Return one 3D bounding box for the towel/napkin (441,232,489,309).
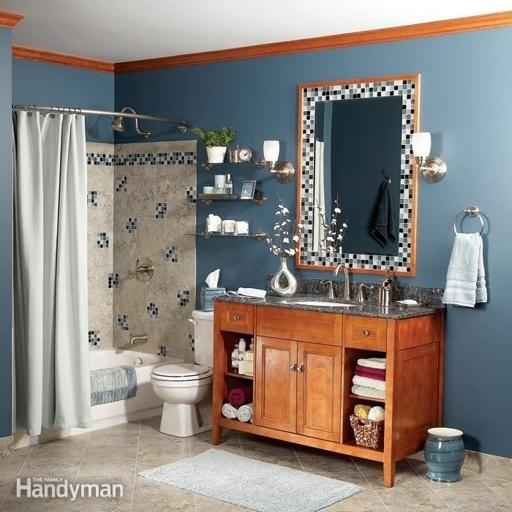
[{"bbox_3d":[1.170,0.073,2.840,0.227,0.400,0.122,0,-3,22],"label":"towel/napkin"}]

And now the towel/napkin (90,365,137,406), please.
[{"bbox_3d":[-1.029,0.964,3.732,0.391,0.218,0.145,-12,-16,11],"label":"towel/napkin"}]

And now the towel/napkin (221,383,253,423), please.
[{"bbox_3d":[-0.104,0.971,3.346,0.188,0.081,0.194,-2,1,32],"label":"towel/napkin"}]

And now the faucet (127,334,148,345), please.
[{"bbox_3d":[-1.065,0.749,4.558,0.160,0.091,0.091,-1,15,8],"label":"faucet"}]

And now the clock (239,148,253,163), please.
[{"bbox_3d":[-0.083,-0.772,3.867,0.091,0.099,0.025,15,8,28],"label":"clock"}]

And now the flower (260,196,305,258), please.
[{"bbox_3d":[0.208,-0.215,3.703,0.400,0.571,0.176,2,6,42],"label":"flower"}]

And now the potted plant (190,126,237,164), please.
[{"bbox_3d":[-0.313,-0.892,4.013,0.191,0.310,0.313,0,13,10],"label":"potted plant"}]

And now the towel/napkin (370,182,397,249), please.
[{"bbox_3d":[0.811,-0.281,3.253,0.170,0.436,0.040,-1,-3,43],"label":"towel/napkin"}]

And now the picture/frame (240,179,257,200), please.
[{"bbox_3d":[-0.054,-0.510,3.857,0.153,0.188,0.024,1,-16,37],"label":"picture/frame"}]

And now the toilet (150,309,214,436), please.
[{"bbox_3d":[-0.485,0.851,3.772,0.395,0.859,0.648,-1,-4,38],"label":"toilet"}]

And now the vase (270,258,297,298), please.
[{"bbox_3d":[0.188,0.125,3.387,0.173,0.285,0.132,1,23,12],"label":"vase"}]

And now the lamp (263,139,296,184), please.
[{"bbox_3d":[0.137,-0.672,3.631,0.176,0.288,0.202,0,1,45],"label":"lamp"}]

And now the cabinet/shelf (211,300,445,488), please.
[{"bbox_3d":[0.355,0.716,3.166,1.211,0.873,0.508,2,3,34],"label":"cabinet/shelf"}]

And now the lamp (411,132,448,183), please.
[{"bbox_3d":[1.004,-0.571,2.992,0.163,0.303,0.175,-5,11,-27],"label":"lamp"}]

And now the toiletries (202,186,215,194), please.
[{"bbox_3d":[-0.374,-0.522,4.005,0.066,0.049,0.069,2,3,22],"label":"toiletries"}]
